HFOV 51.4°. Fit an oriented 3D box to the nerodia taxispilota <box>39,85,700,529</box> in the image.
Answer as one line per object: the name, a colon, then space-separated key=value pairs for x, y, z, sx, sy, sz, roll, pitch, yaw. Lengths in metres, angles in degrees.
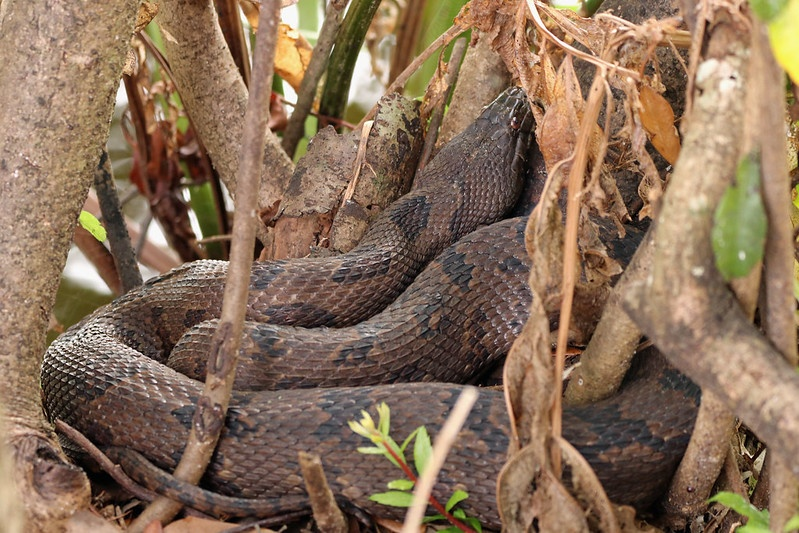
nerodia taxispilota: x=-0.077 y=0.155 z=2.306 sx=1.057 sy=0.282 sz=1.090 roll=2 pitch=40 yaw=14
